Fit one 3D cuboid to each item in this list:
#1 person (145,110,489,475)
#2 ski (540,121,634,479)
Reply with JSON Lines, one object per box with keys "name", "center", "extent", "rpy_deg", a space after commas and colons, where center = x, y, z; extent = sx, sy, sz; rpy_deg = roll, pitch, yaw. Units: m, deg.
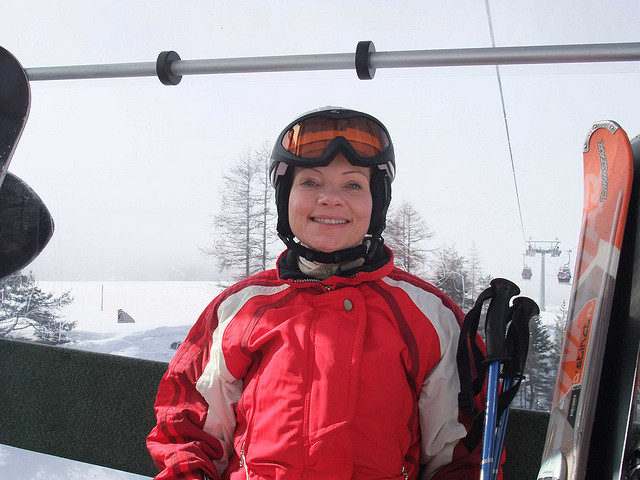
{"name": "person", "center": [0.018, 0.224, 2.366], "extent": [1.356, 1.624, 0.406], "rpy_deg": [2, -6, 14]}
{"name": "ski", "center": [1.101, 0.190, 2.197], "extent": [0.219, 2.039, 0.086], "rpy_deg": [5, -8, 39]}
